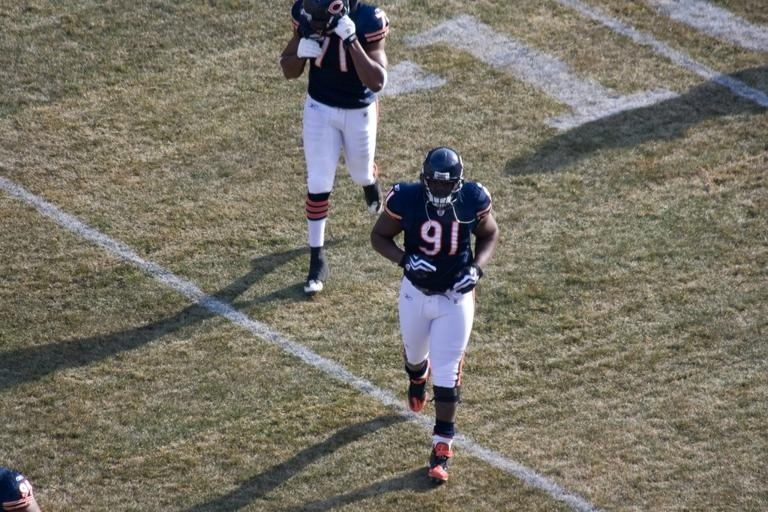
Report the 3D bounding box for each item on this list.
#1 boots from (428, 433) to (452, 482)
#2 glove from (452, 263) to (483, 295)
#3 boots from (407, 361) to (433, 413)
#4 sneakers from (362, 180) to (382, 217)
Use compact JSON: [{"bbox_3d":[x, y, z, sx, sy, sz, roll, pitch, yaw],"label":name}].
[{"bbox_3d":[0.704,2.609,23.741,0.260,0.441,0.637,11,44,-12],"label":"boots"},{"bbox_3d":[1.043,0.316,23.629,0.225,0.324,0.453,27,45,14],"label":"glove"},{"bbox_3d":[0.432,1.726,24.203,0.253,0.676,0.313,2,35,8],"label":"boots"},{"bbox_3d":[-0.156,-0.804,26.465,0.179,0.225,0.497,-20,61,18],"label":"sneakers"}]
